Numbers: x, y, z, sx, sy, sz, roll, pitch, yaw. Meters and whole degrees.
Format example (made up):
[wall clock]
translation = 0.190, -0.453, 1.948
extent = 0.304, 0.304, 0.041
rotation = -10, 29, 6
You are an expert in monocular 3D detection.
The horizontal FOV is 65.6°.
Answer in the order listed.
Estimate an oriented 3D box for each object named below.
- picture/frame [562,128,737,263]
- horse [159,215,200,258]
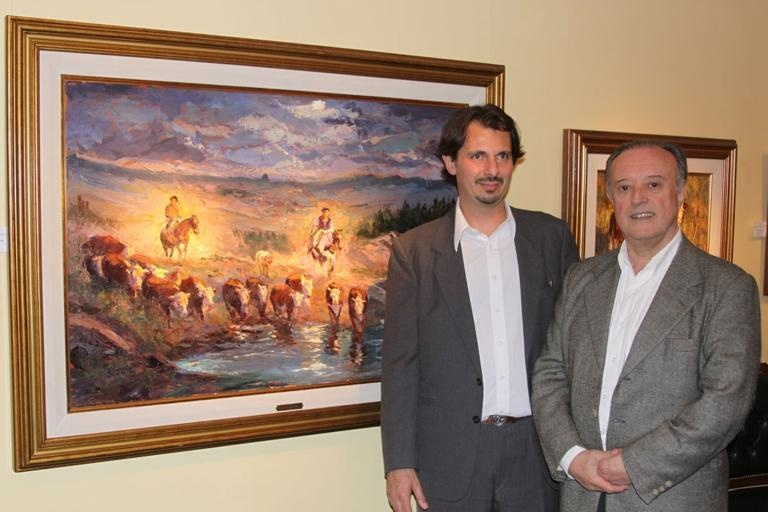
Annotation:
[picture/frame]
translation = 1.509, -0.230, 3.300
extent = 1.065, 0.812, 0.072
rotation = -1, 5, -14
[horse]
translation = -0.939, -0.074, 2.707
extent = 0.295, 0.203, 0.088
rotation = -3, -4, 41
